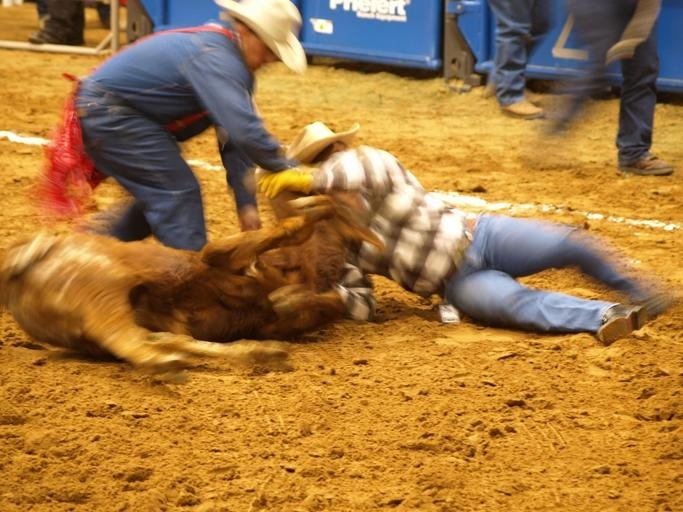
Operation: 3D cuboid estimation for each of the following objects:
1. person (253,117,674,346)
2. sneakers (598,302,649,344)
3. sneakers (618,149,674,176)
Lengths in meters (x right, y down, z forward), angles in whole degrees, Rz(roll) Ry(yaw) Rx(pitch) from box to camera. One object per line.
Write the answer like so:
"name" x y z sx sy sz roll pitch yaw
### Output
"person" 0.669 -0.157 4.257 2.648 0.796 1.113 9 -15 17
"sneakers" 1.480 0.363 4.004 0.326 0.150 0.131 -28 -11 2
"sneakers" 2.901 -0.857 7.124 0.532 0.132 0.210 1 8 23
